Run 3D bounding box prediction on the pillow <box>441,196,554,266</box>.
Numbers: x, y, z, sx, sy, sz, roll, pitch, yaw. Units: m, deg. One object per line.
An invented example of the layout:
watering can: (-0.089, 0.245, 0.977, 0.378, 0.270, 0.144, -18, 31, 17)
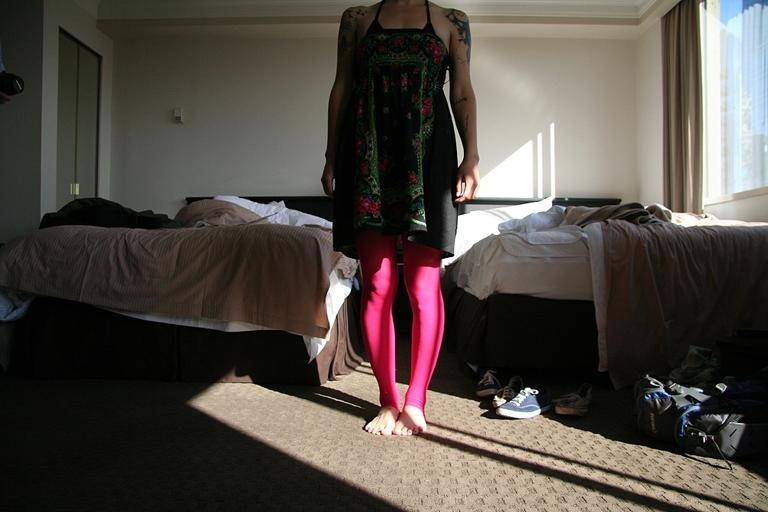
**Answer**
pillow: (1.098, -0.344, 4.868, 0.432, 0.258, 0.649, -6, -9, -45)
